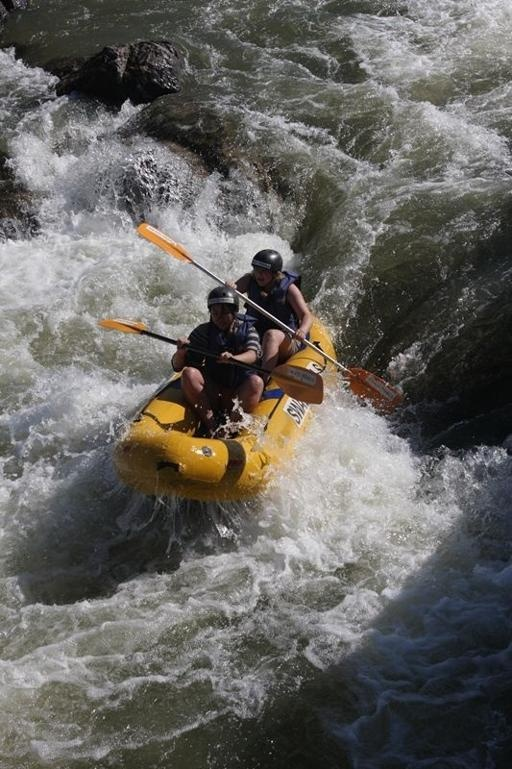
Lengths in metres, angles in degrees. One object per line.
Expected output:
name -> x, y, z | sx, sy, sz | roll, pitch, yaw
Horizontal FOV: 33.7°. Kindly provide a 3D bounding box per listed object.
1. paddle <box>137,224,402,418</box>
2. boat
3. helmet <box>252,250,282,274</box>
paddle -> 0.153, -0.535, 7.638 | 3.561, 0.147, 0.476 | 32, 60, -10
boat -> -0.218, 0.126, 6.896 | 1.238, 0.630, 2.469 | 12, 28, 15
helmet -> 0.081, -1.048, 7.236 | 0.249, 0.169, 0.175 | -24, 40, -39
